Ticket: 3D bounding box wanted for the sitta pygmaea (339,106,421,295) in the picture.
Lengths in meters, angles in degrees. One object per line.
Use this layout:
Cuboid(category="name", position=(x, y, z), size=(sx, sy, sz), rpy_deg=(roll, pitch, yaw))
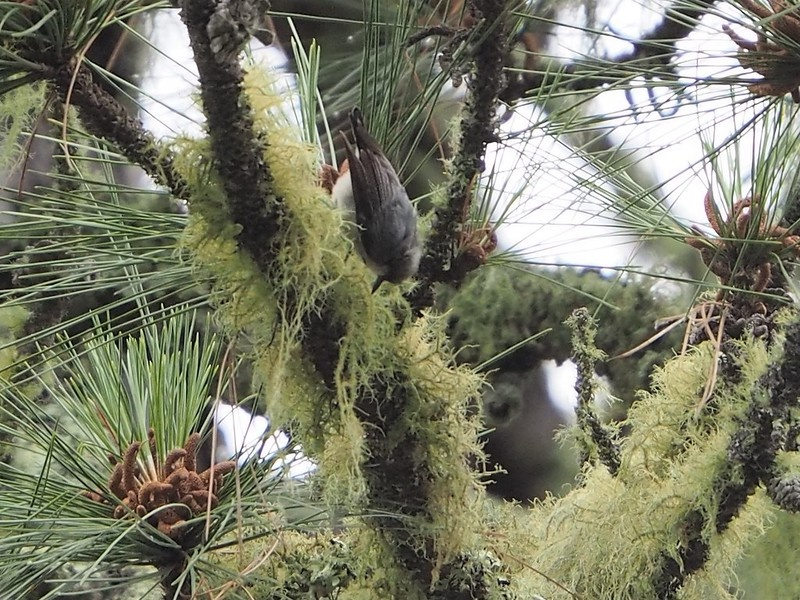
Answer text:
Cuboid(category="sitta pygmaea", position=(-0.027, -0.122, 1.755), size=(0.085, 0.299, 0.105), rpy_deg=(-21, 31, -40))
